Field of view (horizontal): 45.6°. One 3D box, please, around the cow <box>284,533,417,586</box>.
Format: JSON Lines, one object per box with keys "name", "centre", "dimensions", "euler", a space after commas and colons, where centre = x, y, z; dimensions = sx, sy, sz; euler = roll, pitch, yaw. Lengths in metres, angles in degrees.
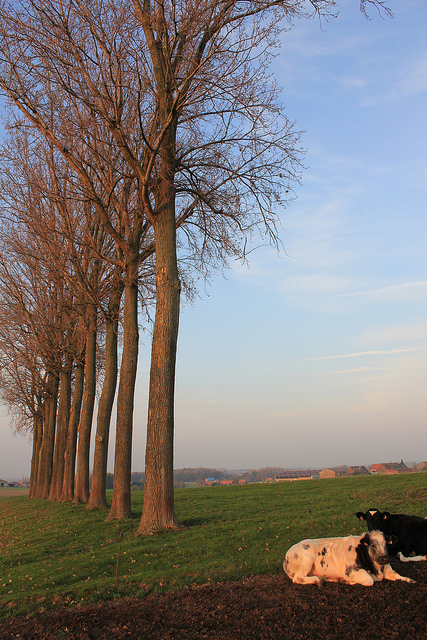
{"name": "cow", "centre": [1.922, 3.703, 7.840], "dimensions": [1.535, 0.735, 0.888], "euler": [-22, -18, 35]}
